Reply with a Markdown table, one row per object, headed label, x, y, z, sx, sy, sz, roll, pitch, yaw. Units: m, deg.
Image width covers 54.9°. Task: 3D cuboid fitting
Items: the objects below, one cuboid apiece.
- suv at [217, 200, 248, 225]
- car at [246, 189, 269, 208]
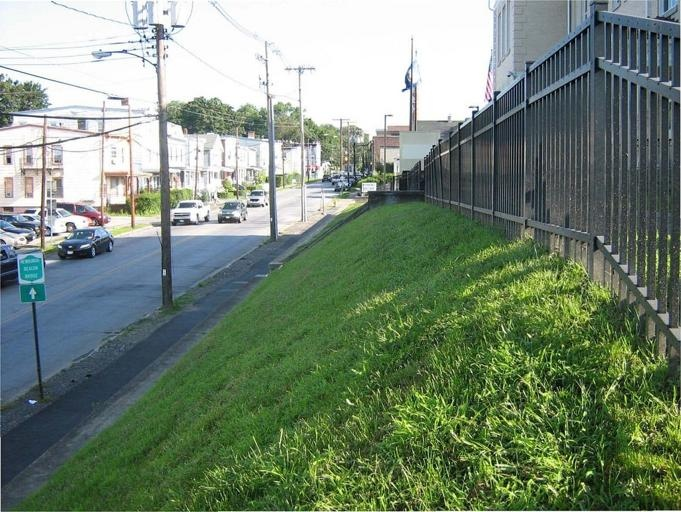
| label | x | y | z | sx | sy | sz | roll | pitch | yaw |
| --- | --- | --- | --- | --- | --- | --- | --- | --- | --- |
| suv | -7.980 | -3.249 | 48.307 | 1.459 | 1.425 | 2.479 | -1 | 8 | 11 |
| car | -8.063 | -5.587 | 63.737 | 1.000 | 1.203 | 2.519 | -1 | 1 | 3 |
